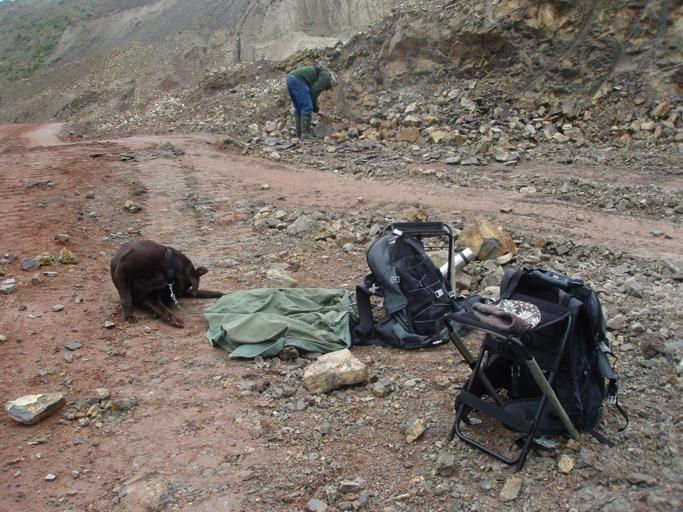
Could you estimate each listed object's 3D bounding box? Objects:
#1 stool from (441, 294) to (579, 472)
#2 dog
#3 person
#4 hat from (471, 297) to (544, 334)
[{"bbox_3d":[1.463,1.015,4.410,1.197,1.086,1.037,-9,11,-20],"label":"stool"},{"bbox_3d":[-2.045,0.277,6.079,1.129,0.884,0.789,-10,30,-13],"label":"dog"},{"bbox_3d":[-0.799,-3.742,12.657,0.717,1.606,1.052,11,33,22],"label":"person"},{"bbox_3d":[1.295,0.448,4.387,0.548,0.118,0.465,0,23,-13],"label":"hat"}]
